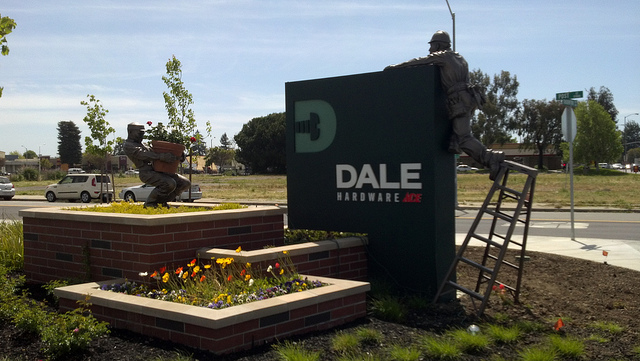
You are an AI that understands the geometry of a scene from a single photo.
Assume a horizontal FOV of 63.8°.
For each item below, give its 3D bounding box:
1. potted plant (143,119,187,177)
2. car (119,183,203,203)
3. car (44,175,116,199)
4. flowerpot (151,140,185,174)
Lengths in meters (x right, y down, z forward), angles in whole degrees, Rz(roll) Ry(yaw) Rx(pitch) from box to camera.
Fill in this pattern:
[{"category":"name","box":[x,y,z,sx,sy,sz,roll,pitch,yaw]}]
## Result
[{"category":"potted plant","box":[-4.004,-1.001,13.567,1.164,1.275,0.881,11,-8,-11]},{"category":"car","box":[-6.979,0.545,22.753,2.655,0.860,1.215,1,0,6]},{"category":"car","box":[-16.043,0.394,34.760,4.477,1.627,2.197,2,0,22]},{"category":"flowerpot","box":[-3.908,-0.606,13.237,0.831,0.689,0.843,7,-5,-33]}]
